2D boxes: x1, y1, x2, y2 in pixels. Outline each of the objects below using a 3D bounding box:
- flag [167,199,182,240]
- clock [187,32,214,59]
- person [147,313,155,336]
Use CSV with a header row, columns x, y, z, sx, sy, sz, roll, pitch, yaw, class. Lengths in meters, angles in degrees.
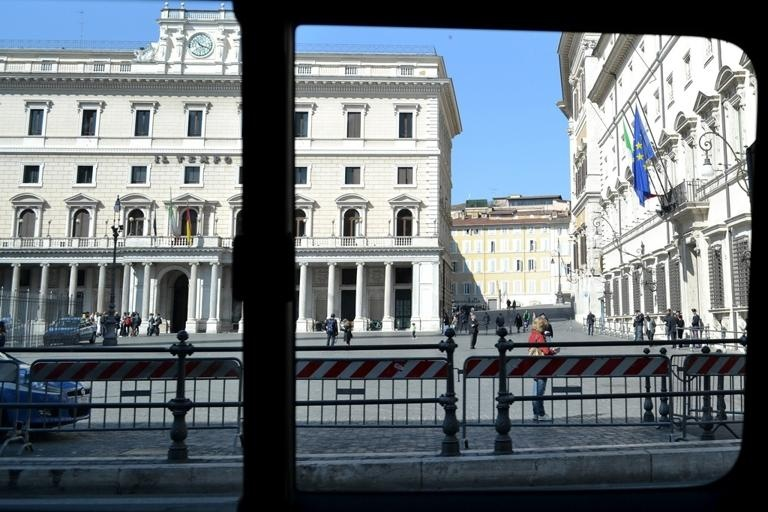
x,y,z,sx,sy,sz,roll,pitch,yaw,class
-11.325,-1.936,56.275,0.616,1.624,2.756,1,-10,-11,flag
-2.125,-2.505,12.344,0.420,0.384,0.090,-5,22,-25,clock
-12.579,3.777,56.311,0.398,1.327,1.595,1,-10,-13,person
